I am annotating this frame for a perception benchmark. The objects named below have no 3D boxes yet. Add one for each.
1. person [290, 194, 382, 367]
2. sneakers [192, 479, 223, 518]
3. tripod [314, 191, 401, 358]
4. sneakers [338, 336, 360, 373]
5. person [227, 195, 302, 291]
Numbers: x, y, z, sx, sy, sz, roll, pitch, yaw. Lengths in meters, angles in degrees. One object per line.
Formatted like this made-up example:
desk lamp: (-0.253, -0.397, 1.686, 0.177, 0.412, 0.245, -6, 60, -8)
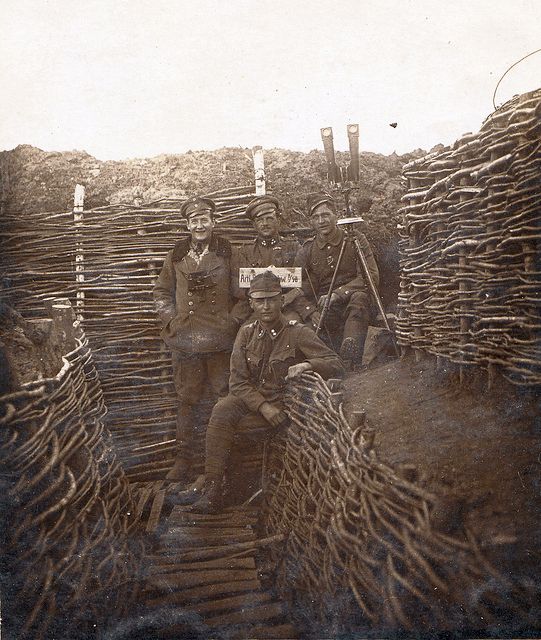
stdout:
person: (0.459, -0.249, 3.998, 0.393, 1.087, 0.365, -4, -11, 17)
sneakers: (-0.394, 1.130, 3.796, 0.187, 0.186, 0.100, -2, 9, 4)
tripod: (0.492, -0.277, 4.008, 0.412, 0.936, 0.286, -7, -8, 19)
sneakers: (0.519, 0.222, 3.903, 0.096, 0.230, 0.066, -7, -12, 6)
person: (-0.030, -0.481, 4.118, 0.446, 0.801, 0.275, -2, -24, 0)
